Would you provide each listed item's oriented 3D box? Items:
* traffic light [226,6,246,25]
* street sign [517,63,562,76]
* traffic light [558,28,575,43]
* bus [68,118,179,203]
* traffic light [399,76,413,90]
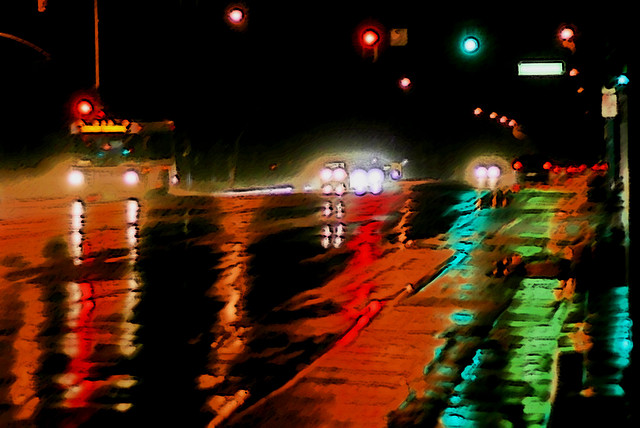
[{"bbox_3d":[-1.682,-3.977,10.534,0.363,0.361,0.024,2,2,-6],"label":"traffic light"},{"bbox_3d":[4.543,-2.974,10.821,0.921,0.270,0.054,1,2,-1],"label":"street sign"},{"bbox_3d":[5.058,-3.643,10.785,0.328,0.264,0.079,-11,9,3],"label":"traffic light"},{"bbox_3d":[-4.119,-1.182,11.017,2.225,1.526,0.966,1,2,-9],"label":"bus"},{"bbox_3d":[1.746,-2.654,10.617,0.308,0.247,0.065,10,-2,0],"label":"traffic light"}]
